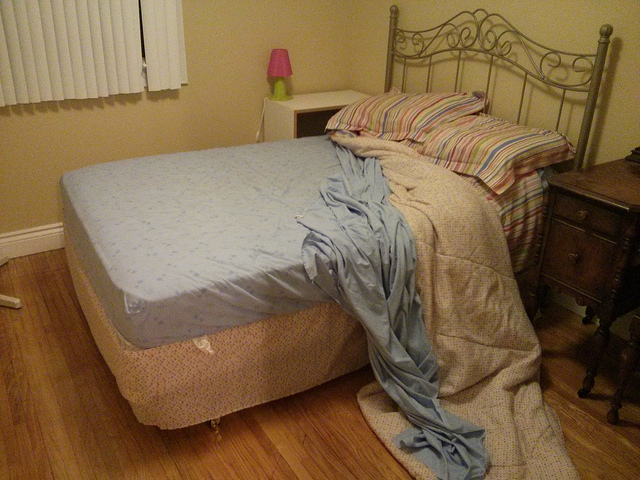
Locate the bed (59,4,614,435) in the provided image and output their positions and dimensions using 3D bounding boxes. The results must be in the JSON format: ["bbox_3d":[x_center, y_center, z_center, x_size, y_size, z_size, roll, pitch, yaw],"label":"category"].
[{"bbox_3d":[0.082,-0.050,3.140,2.962,2.004,2.019,-17,44,-22],"label":"bed"}]

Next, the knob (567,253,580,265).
[{"bbox_3d":[1.164,0.085,2.229,0.049,0.040,0.035,-26,38,-33],"label":"knob"}]

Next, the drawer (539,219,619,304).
[{"bbox_3d":[1.295,0.058,2.303,0.301,0.367,0.384,-16,28,-30],"label":"drawer"}]

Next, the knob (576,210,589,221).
[{"bbox_3d":[1.173,-0.109,2.169,0.045,0.028,0.026,-9,30,-31],"label":"knob"}]
